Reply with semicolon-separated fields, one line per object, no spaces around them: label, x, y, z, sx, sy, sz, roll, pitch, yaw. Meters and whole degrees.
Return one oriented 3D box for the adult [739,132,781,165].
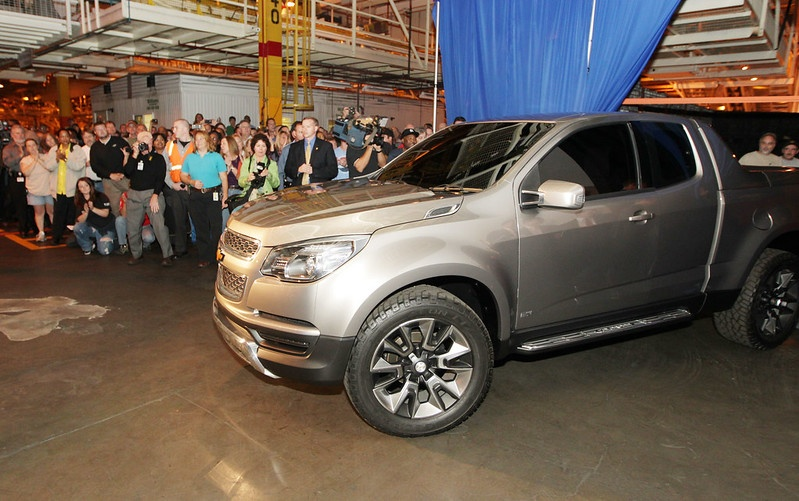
adult;6.556;-1.769;8.071;0.700;0.622;0.340;6;19;31

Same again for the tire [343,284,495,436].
tire;0.145;0.919;3.791;1.345;1.271;0.461;1;13;-16

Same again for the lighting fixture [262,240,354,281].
lighting fixture;-0.746;0.084;3.594;0.785;0.318;0.156;2;15;5
